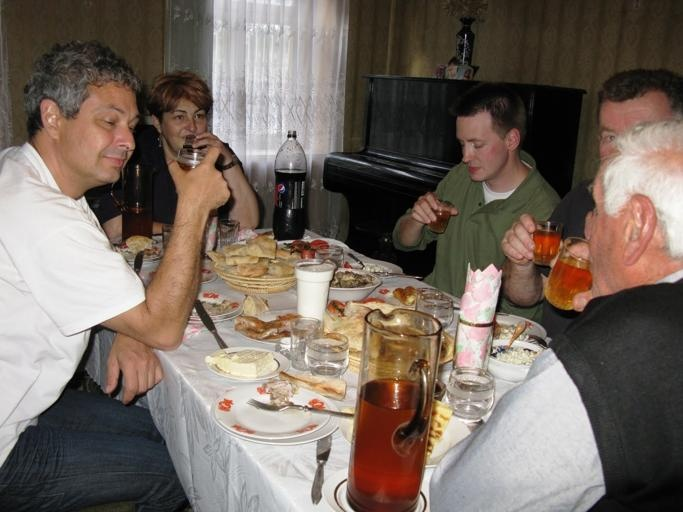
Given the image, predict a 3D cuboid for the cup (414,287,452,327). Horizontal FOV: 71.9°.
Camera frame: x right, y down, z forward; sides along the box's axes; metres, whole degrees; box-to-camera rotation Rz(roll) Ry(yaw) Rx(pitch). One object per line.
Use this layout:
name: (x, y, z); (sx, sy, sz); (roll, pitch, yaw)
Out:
cup: (0.287, 0.143, 1.484); (0.127, 0.128, 0.130); (2, 3, 0)

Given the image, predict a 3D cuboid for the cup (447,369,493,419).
cup: (0.295, 0.318, 1.080); (0.101, 0.101, 0.104); (2, 6, 0)

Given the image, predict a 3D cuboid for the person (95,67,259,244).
person: (-0.948, -0.350, 2.704); (0.728, 1.288, 0.746); (4, 9, 19)

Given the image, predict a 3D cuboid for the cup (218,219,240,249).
cup: (-0.501, -0.096, 2.086); (0.112, 0.134, 0.115); (2, 2, 0)

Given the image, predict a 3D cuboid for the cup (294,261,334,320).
cup: (-0.068, 0.086, 1.486); (0.164, 0.194, 0.152); (4, 12, -1)

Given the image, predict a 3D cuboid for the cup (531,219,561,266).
cup: (0.687, -0.040, 1.571); (0.097, 0.141, 0.089); (3, 3, 0)

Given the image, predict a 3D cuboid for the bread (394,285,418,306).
bread: (0.226, 0.133, 1.623); (0.047, 0.032, 0.077); (-7, 8, -5)

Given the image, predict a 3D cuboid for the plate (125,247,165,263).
plate: (-0.822, -0.011, 1.956); (0.102, 0.028, 0.102); (0, 8, -1)

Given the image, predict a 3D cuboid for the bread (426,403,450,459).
bread: (0.199, 0.352, 0.953); (0.044, 0.016, 0.091); (17, 57, 7)

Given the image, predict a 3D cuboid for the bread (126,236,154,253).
bread: (-0.863, -0.054, 2.002); (0.084, 0.044, 0.081); (5, 23, -7)

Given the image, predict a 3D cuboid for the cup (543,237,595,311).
cup: (0.582, 0.047, 1.214); (0.098, 0.163, 0.103); (20, 10, -4)

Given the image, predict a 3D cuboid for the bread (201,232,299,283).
bread: (-0.339, 0.014, 1.753); (0.214, 0.065, 0.229); (-4, 22, 16)

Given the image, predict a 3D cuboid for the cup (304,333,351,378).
cup: (-0.033, 0.255, 1.240); (0.093, 0.103, 0.099); (2, 3, 0)

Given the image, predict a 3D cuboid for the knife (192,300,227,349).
knife: (-0.385, 0.193, 1.381); (0.055, 0.021, 0.393); (-11, 21, -17)

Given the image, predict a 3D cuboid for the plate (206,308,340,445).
plate: (-0.149, 0.298, 1.110); (0.305, 0.043, 0.414); (-5, 21, -19)

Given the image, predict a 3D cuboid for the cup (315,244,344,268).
cup: (-0.041, -0.011, 1.936); (0.089, 0.087, 0.091); (-2, 16, 1)

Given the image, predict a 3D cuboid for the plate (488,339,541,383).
plate: (0.419, 0.255, 1.146); (0.101, 0.054, 0.147); (-1, 11, 2)

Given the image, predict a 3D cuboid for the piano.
piano: (0.764, -0.617, 4.200); (1.043, 1.764, 1.780); (-6, 20, -28)

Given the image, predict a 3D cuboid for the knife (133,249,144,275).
knife: (-0.758, 0.022, 1.755); (0.021, 0.097, 0.016); (15, -5, -9)

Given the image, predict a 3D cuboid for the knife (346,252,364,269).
knife: (0.065, 0.017, 2.030); (0.020, 0.070, 0.067); (-27, 17, -33)
